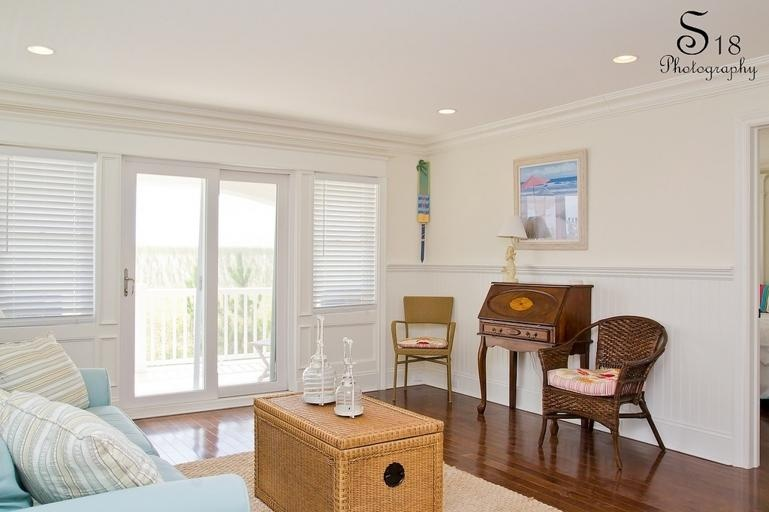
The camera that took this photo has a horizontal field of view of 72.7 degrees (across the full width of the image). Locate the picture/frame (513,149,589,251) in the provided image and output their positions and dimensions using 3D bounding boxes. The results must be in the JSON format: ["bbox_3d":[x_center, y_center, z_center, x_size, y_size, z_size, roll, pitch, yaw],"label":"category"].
[{"bbox_3d":[1.898,-0.610,5.808,0.075,1.412,1.210,-3,3,-43],"label":"picture/frame"}]

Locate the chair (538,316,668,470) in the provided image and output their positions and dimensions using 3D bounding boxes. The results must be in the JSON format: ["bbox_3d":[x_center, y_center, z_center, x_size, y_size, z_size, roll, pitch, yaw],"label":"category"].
[{"bbox_3d":[2.066,1.196,4.966,1.007,1.218,0.944,3,4,41],"label":"chair"}]

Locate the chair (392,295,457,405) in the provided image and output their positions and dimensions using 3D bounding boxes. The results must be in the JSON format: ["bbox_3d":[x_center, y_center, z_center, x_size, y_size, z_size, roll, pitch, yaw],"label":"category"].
[{"bbox_3d":[0.497,1.102,6.546,0.867,1.170,0.922,1,-1,-5],"label":"chair"}]
